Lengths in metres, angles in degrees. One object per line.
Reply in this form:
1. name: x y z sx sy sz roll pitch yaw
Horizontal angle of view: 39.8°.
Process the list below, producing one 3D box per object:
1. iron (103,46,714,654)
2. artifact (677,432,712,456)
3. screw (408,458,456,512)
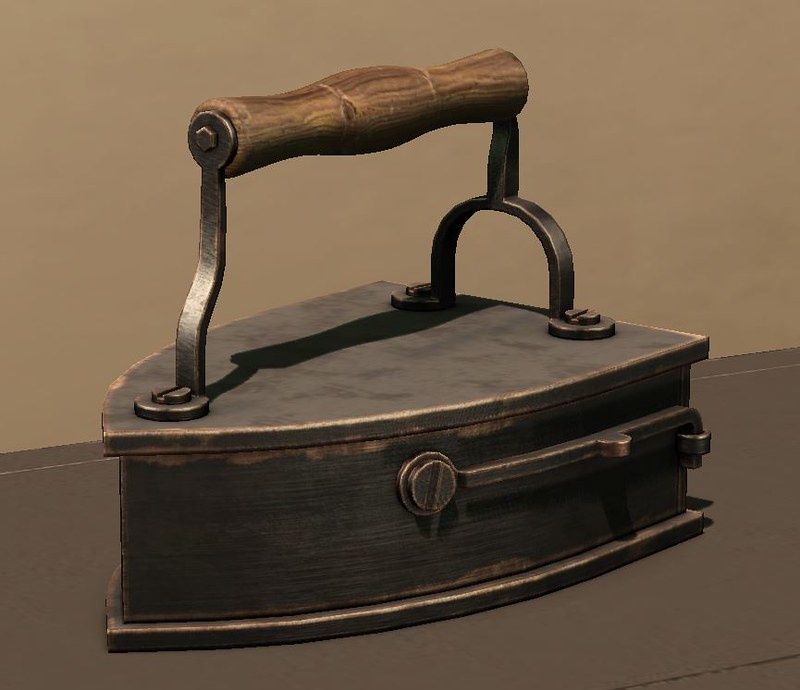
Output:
1. iron: -0.031 -0.034 1.322 0.817 0.448 0.596 -11 17 -39
2. artifact: 0.343 0.121 1.280 0.028 0.019 0.035 -2 -1 -39
3. screw: 0.029 0.137 1.070 0.063 0.055 0.009 6 6 -32
